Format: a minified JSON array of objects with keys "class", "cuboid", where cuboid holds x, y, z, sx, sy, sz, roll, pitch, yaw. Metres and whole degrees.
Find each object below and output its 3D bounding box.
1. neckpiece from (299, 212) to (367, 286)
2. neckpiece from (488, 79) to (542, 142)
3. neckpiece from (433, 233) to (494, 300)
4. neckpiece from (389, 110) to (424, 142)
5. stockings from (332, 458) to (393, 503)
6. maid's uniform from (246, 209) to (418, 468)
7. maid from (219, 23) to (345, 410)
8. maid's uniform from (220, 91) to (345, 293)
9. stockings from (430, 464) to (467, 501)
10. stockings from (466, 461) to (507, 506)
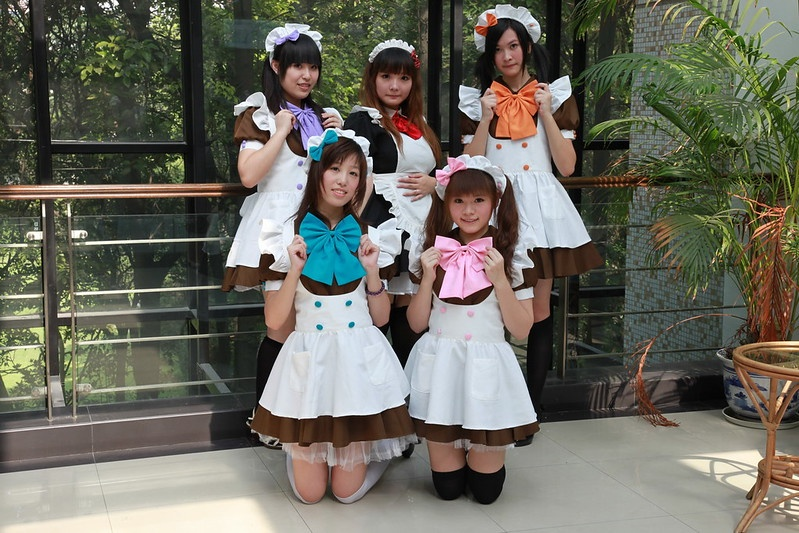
[{"class":"neckpiece","cuboid":[-0.293,-0.061,2.870,0.284,0.335,0.040,-6,-13,-8]},{"class":"neckpiece","cuboid":[0.563,-0.746,3.205,0.277,0.350,0.052,-3,-5,15]},{"class":"neckpiece","cuboid":[0.281,0.013,2.886,0.267,0.313,0.047,-2,-7,9]},{"class":"neckpiece","cuboid":[0.034,-0.675,3.187,0.032,0.152,0.095,-4,48,58]},{"class":"stockings","cuboid":[-0.161,0.954,2.978,0.125,0.059,0.252,1,35,40]},{"class":"maid's uniform","cuboid":[-0.303,0.357,2.889,0.703,1.120,0.381,-3,9,0]},{"class":"maid","cuboid":[-0.492,-0.196,3.171,0.602,1.921,0.483,-1,-6,-21]},{"class":"maid's uniform","cuboid":[-0.560,-0.411,3.209,0.561,0.979,0.439,-7,32,-36]},{"class":"stockings","cuboid":[0.218,0.982,2.980,0.120,0.107,0.133,-5,-5,-5]},{"class":"stockings","cuboid":[0.378,0.966,2.925,0.177,0.186,0.161,1,5,6]}]
